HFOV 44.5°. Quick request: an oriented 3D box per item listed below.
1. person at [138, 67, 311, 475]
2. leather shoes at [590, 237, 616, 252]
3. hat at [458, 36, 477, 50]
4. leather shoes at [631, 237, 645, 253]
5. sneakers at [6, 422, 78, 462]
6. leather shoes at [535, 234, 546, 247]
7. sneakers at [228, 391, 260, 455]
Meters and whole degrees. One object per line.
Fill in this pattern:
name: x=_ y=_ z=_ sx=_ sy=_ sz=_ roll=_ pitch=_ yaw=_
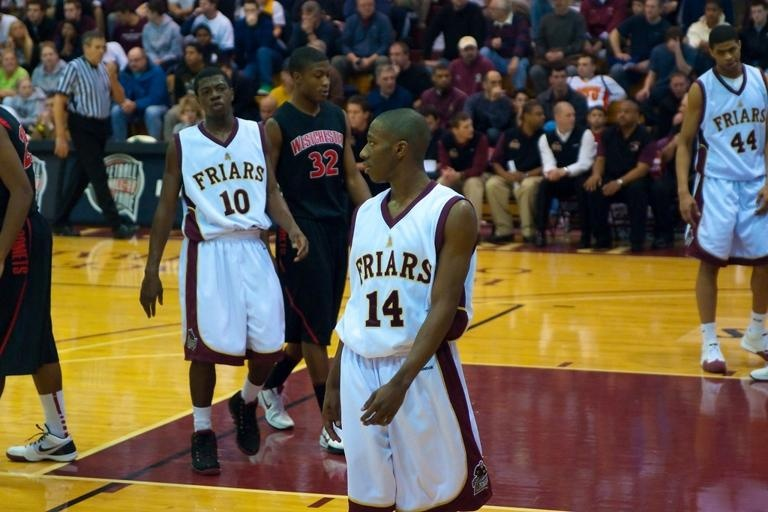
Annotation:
person: x=-1.095 y=0.092 z=5.976 sx=0.838 sy=2.497 sz=0.582 roll=-5 pitch=13 yaw=-16
leather shoes: x=2.794 y=-0.168 z=11.990 sx=0.254 sy=0.165 sz=0.319 roll=2 pitch=14 yaw=14
hat: x=1.191 y=-3.022 z=13.352 sx=0.228 sy=0.164 sz=0.405 roll=1 pitch=13 yaw=9
leather shoes: x=3.169 y=-0.131 z=11.747 sx=0.159 sy=0.235 sz=0.170 roll=0 pitch=-3 yaw=2
sneakers: x=-2.303 y=1.264 z=6.281 sx=0.540 sy=0.302 sz=0.202 roll=3 pitch=1 yaw=4
leather shoes: x=2.054 y=-0.189 z=12.356 sx=0.131 sy=0.157 sz=0.141 roll=3 pitch=3 yaw=27
sneakers: x=-0.931 y=1.135 z=6.286 sx=0.154 sy=0.468 sz=0.211 roll=-7 pitch=-12 yaw=-39
